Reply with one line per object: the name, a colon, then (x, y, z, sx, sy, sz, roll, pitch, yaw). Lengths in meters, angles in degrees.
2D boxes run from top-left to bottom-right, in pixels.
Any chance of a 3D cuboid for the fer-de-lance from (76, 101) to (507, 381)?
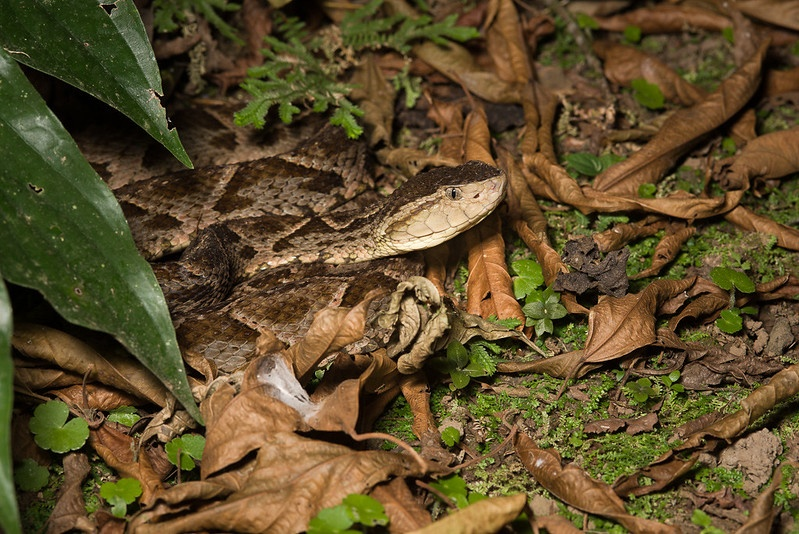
fer-de-lance: (-0.742, -0.165, 5.023, 2.362, 0.588, 1.764, 7, 39, 13)
